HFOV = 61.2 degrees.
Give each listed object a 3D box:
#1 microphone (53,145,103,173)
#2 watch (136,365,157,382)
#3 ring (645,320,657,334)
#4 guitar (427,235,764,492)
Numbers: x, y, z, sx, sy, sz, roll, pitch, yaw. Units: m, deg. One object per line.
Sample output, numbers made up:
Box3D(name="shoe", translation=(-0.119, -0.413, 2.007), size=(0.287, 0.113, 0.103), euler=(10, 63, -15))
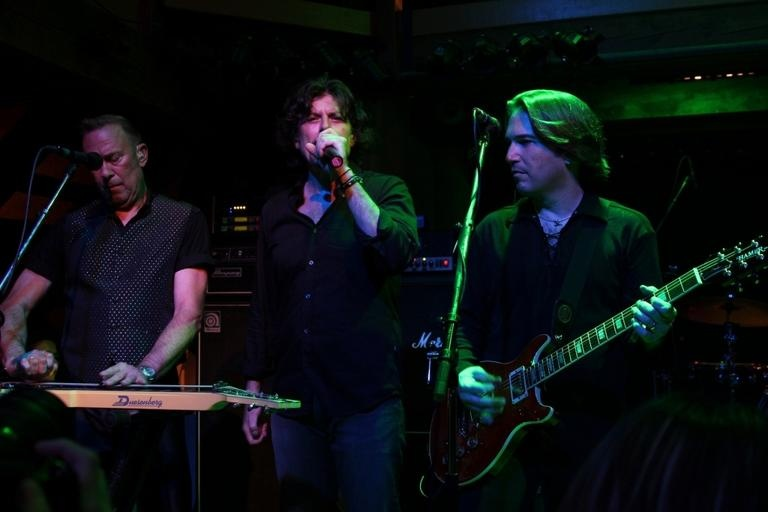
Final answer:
Box3D(name="microphone", translation=(-1.615, -0.514, 3.530), size=(0.083, 0.089, 0.316), euler=(-49, -20, 9))
Box3D(name="watch", translation=(-1.113, 0.561, 3.085), size=(0.064, 0.081, 0.034), euler=(3, -33, -38))
Box3D(name="ring", translation=(1.223, 0.327, 2.992), size=(0.036, 0.013, 0.049), euler=(4, -30, 6))
Box3D(name="guitar", translation=(1.049, 0.588, 3.393), size=(1.601, 0.515, 0.239), euler=(-35, -41, 15))
